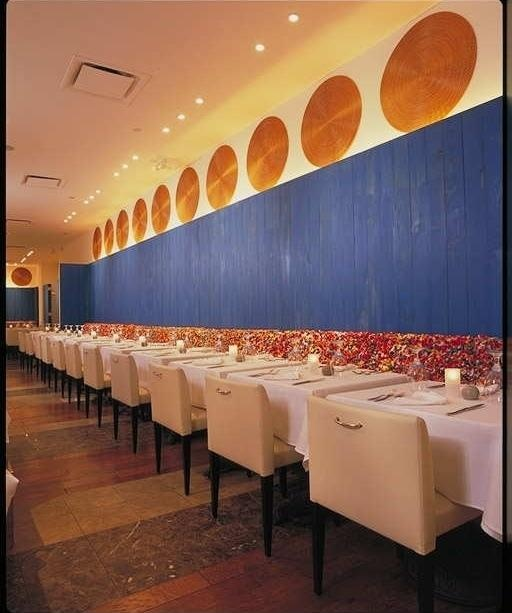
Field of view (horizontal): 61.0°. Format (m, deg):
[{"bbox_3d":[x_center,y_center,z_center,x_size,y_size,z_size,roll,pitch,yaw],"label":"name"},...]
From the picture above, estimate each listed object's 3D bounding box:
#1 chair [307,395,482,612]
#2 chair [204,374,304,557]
[{"bbox_3d":[0.483,0.532,1.779,0.574,0.996,0.546,-1,1,-38],"label":"chair"},{"bbox_3d":[-0.053,0.734,2.494,0.582,1.206,0.546,-1,2,-39],"label":"chair"}]
